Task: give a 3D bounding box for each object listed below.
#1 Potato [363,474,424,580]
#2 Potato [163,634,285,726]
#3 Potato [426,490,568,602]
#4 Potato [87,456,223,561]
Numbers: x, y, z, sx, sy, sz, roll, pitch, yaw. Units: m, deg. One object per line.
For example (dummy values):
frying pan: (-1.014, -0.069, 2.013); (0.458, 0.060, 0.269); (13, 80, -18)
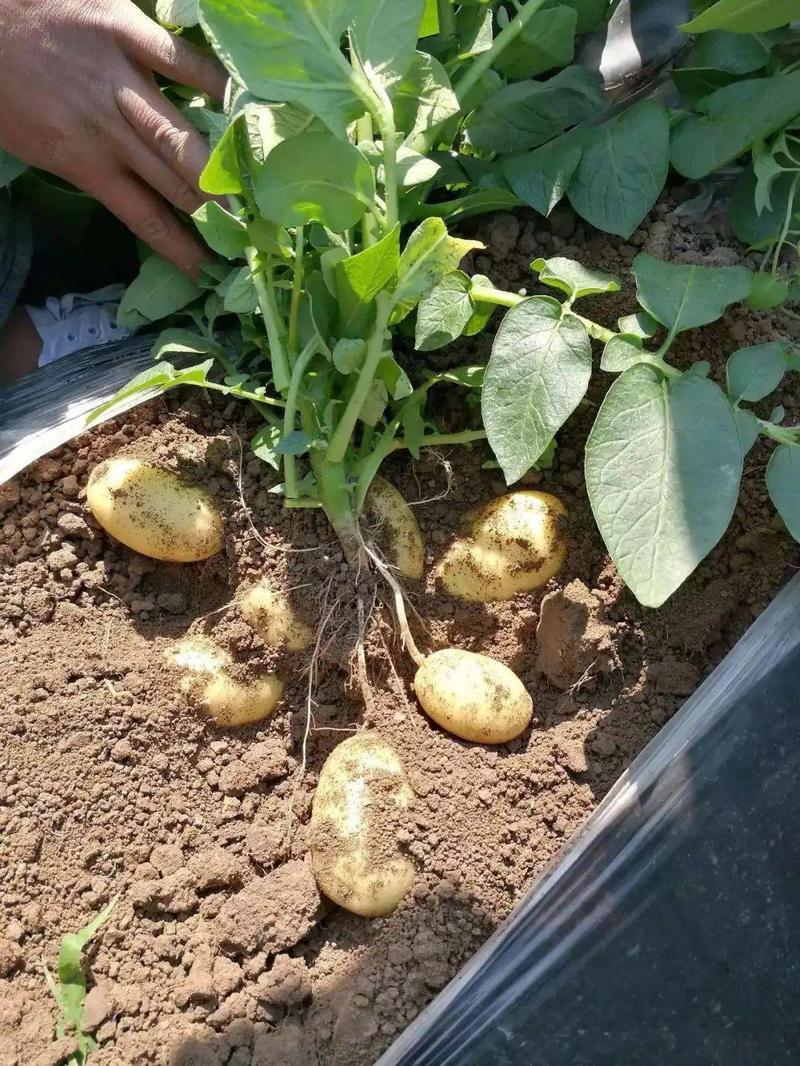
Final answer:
Potato: (-0.005, -0.006, 1.101); (0.059, 0.039, 0.099); (-24, 90, -48)
Potato: (-0.178, 0.150, 1.063); (0.114, 0.033, 0.084); (40, 76, 0)
Potato: (0.105, 0.014, 1.080); (0.124, 0.092, 0.095); (8, 47, -1)
Potato: (-0.258, -0.016, 1.109); (0.154, 0.104, 0.069); (19, 49, 10)
